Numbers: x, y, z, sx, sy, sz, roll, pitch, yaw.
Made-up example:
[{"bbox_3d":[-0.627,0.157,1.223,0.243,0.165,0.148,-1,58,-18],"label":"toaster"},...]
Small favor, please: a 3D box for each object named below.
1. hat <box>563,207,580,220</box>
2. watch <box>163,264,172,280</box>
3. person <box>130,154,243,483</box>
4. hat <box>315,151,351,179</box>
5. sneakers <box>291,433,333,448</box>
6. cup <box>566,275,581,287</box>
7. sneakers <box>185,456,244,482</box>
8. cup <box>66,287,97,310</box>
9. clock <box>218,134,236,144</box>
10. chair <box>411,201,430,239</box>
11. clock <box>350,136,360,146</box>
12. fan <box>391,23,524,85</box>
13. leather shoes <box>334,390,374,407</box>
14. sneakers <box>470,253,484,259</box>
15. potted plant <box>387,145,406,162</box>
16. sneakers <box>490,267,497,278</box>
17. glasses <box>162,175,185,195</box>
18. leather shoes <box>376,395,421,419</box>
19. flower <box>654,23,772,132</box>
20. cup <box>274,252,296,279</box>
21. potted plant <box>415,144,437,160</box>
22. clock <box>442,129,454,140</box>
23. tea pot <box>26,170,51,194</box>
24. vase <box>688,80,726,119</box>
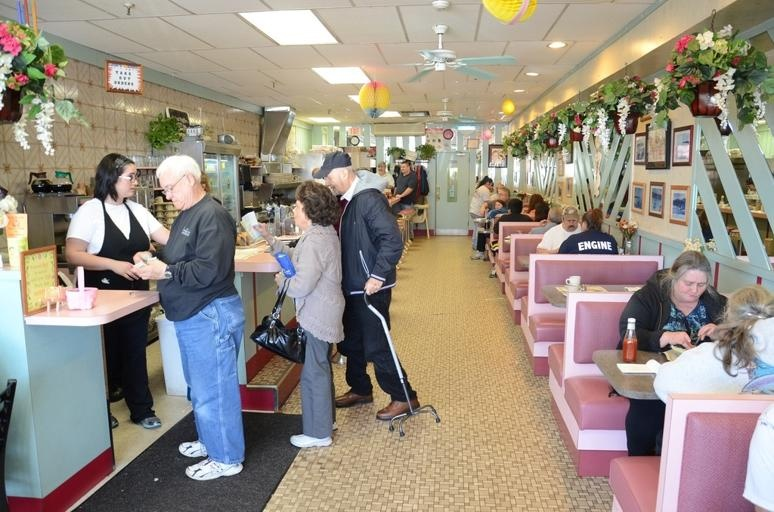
[{"bbox_3d":[2.250,-0.550,6.774,0.212,0.148,0.278,1,8,9],"label":"hat"},{"bbox_3d":[-1.530,0.110,3.838,0.060,0.074,0.022,-1,4,-1],"label":"watch"},{"bbox_3d":[-1.376,0.452,4.028,0.632,2.359,0.431,2,11,10],"label":"person"},{"bbox_3d":[-0.429,-0.777,4.581,0.298,0.147,0.189,-10,15,-1],"label":"hat"},{"bbox_3d":[-0.609,1.487,4.485,0.320,0.129,0.122,4,-1,0],"label":"sneakers"},{"bbox_3d":[1.761,0.225,5.221,0.165,0.138,0.105,0,2,24],"label":"cup"},{"bbox_3d":[-1.296,1.585,4.168,0.416,0.182,0.155,3,2,-9],"label":"sneakers"},{"bbox_3d":[-2.049,0.271,3.673,0.158,0.113,0.156,-1,1,0],"label":"cup"},{"bbox_3d":[-2.914,-2.143,9.921,0.326,0.186,0.250,1,4,34],"label":"clock"},{"bbox_3d":[0.870,-1.003,14.992,0.684,0.855,0.669,-6,-5,18],"label":"chair"},{"bbox_3d":[-0.916,-3.357,15.741,0.297,0.288,0.069,8,22,18],"label":"clock"},{"bbox_3d":[0.640,-2.294,6.022,1.152,0.394,1.170,18,19,38],"label":"fan"},{"bbox_3d":[-0.299,1.303,5.064,0.332,0.134,0.126,3,-2,-13],"label":"leather shoes"},{"bbox_3d":[1.927,-0.035,11.655,0.301,0.131,0.106,1,-2,-42],"label":"sneakers"},{"bbox_3d":[0.270,-2.962,15.578,0.480,0.347,0.473,4,4,7],"label":"potted plant"},{"bbox_3d":[1.882,0.273,9.694,0.126,0.158,0.378,6,9,10],"label":"sneakers"},{"bbox_3d":[-1.503,-0.523,3.896,0.040,0.127,0.125,25,-18,-32],"label":"glasses"},{"bbox_3d":[0.076,1.318,4.846,0.403,0.153,0.151,-6,1,-15],"label":"leather shoes"},{"bbox_3d":[2.249,-1.283,4.095,0.768,0.626,0.791,-2,13,5],"label":"flower"},{"bbox_3d":[-0.790,0.063,4.248,0.091,0.223,0.195,-40,14,-27],"label":"cup"},{"bbox_3d":[1.101,-3.024,15.637,0.467,0.303,0.459,0,-2,6],"label":"potted plant"},{"bbox_3d":[1.749,-3.523,15.722,0.286,0.329,0.445,1,11,5],"label":"clock"},{"bbox_3d":[-3.946,-0.854,6.214,0.186,0.231,0.562,-7,12,-33],"label":"tea pot"},{"bbox_3d":[2.262,-1.114,3.958,0.167,0.162,0.168,-1,3,-41],"label":"vase"}]
